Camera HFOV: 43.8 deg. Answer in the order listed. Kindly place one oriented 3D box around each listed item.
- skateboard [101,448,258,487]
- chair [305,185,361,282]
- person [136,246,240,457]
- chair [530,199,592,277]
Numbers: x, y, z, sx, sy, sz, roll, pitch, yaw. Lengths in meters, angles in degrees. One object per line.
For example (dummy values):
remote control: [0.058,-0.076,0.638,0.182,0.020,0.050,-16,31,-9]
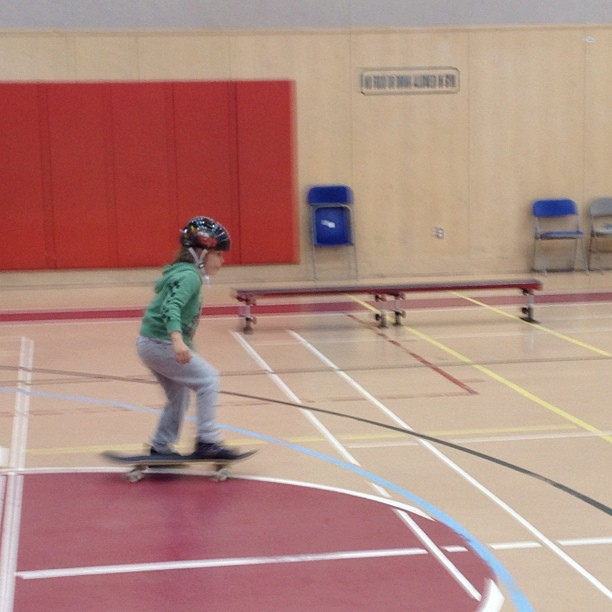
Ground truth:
skateboard: [-0.675,0.819,3.932,0.725,0.080,0.263,-1,1,-6]
chair: [0.380,-1.039,10.669,0.767,1.312,0.291,0,15,1]
person: [-0.621,0.279,3.962,0.503,1.190,0.786,-2,14,-5]
chair: [3.767,-1.003,10.956,1.038,1.078,0.629,-3,14,-9]
